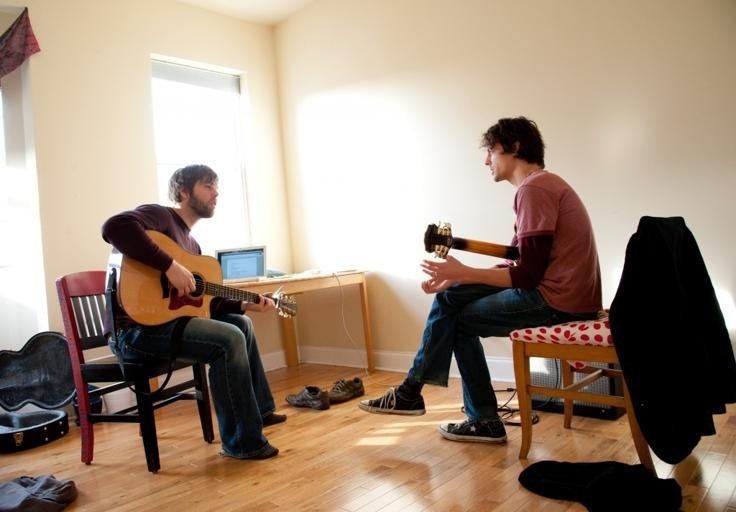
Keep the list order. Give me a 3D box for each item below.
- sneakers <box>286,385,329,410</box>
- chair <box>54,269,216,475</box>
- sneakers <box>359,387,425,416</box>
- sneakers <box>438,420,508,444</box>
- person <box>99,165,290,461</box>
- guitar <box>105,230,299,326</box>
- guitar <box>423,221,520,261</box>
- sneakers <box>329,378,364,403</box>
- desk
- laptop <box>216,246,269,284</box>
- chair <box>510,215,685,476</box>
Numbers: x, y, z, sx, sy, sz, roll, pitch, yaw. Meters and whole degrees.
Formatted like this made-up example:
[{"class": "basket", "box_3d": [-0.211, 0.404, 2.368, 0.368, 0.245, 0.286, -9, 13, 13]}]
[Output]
[{"class": "sneakers", "box_3d": [-0.406, 0.937, 3.581, 0.292, 0.122, 0.133, -3, -5, 44]}, {"class": "chair", "box_3d": [-1.336, 0.605, 3.123, 0.680, 1.031, 0.686, -5, -1, 33]}, {"class": "sneakers", "box_3d": [0.147, 0.800, 3.000, 0.364, 0.149, 0.148, 0, -9, 14]}, {"class": "sneakers", "box_3d": [0.567, 0.923, 2.901, 0.347, 0.143, 0.134, 1, -4, 26]}, {"class": "person", "box_3d": [-0.984, 0.280, 2.979, 0.867, 1.584, 0.572, -4, 5, -5]}, {"class": "guitar", "box_3d": [-0.883, 0.212, 3.040, 1.046, 0.461, 0.128, 13, -24, -43]}, {"class": "guitar", "box_3d": [0.518, -0.063, 2.824, 0.513, 0.197, 0.105, 7, -10, -9]}, {"class": "sneakers", "box_3d": [-0.155, 0.925, 3.700, 0.289, 0.129, 0.105, 3, -13, -43]}, {"class": "desk", "box_3d": [-0.435, 0.521, 4.608, 0.985, 0.783, 1.011, -9, 2, 0]}, {"class": "laptop", "box_3d": [-0.920, 0.052, 3.918, 0.359, 0.252, 0.241, -3, -4, -12]}, {"class": "chair", "box_3d": [1.072, 0.598, 2.680, 0.607, 0.709, 0.659, -2, 5, 28]}]
